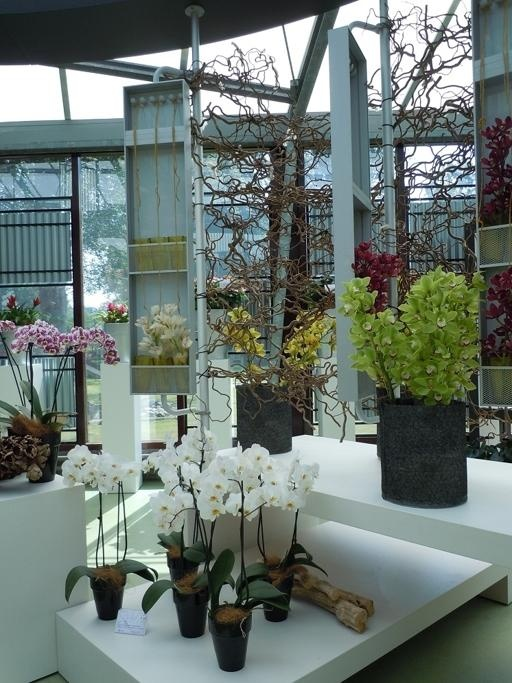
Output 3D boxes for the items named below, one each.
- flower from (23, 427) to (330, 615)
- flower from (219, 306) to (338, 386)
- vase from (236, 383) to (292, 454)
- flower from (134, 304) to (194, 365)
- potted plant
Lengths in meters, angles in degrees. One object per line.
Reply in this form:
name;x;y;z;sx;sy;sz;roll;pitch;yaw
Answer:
flower;-0.295;0.705;2.345;0.988;0.609;0.463;-1;-12;12
flower;0.088;0.051;2.783;0.583;0.284;0.510;-1;9;10
vase;0.012;0.322;2.748;0.302;0.312;0.288;-1;2;-17
flower;-0.456;-0.046;3.423;0.373;0.350;0.330;1;2;7
potted plant;0.467;0.140;1.886;0.422;0.701;0.417;-1;3;18
